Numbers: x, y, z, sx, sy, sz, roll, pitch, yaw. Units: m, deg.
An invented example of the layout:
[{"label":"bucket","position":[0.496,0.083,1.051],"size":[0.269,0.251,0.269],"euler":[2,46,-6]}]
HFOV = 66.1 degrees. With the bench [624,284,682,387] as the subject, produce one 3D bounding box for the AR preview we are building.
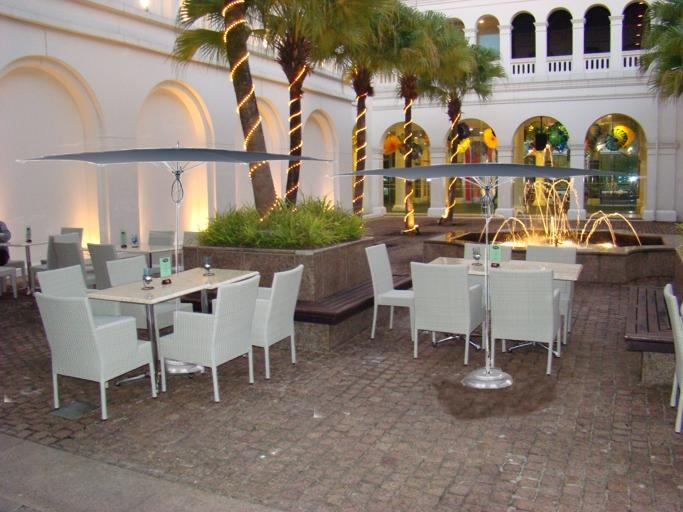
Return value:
[{"label":"bench","position":[3.286,0.888,5.587],"size":[0.401,0.386,0.990],"euler":[3,14,23]}]
